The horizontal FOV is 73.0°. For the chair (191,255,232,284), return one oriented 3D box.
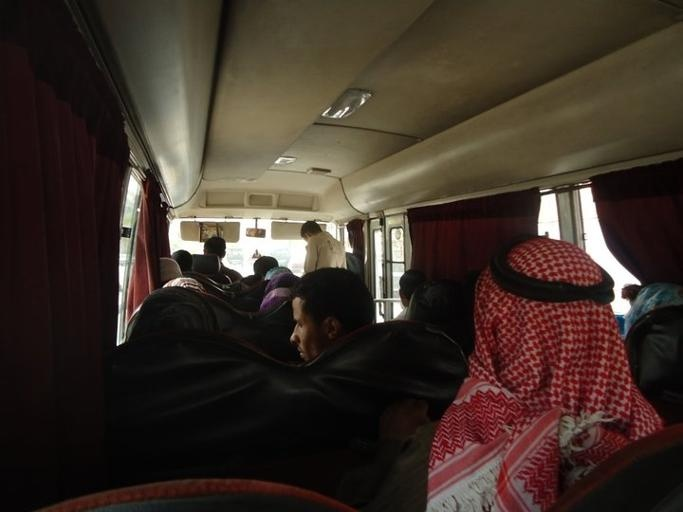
[{"bbox_3d":[-0.904,0.110,3.198,0.194,0.253,0.288,8,-26,-39],"label":"chair"}]
